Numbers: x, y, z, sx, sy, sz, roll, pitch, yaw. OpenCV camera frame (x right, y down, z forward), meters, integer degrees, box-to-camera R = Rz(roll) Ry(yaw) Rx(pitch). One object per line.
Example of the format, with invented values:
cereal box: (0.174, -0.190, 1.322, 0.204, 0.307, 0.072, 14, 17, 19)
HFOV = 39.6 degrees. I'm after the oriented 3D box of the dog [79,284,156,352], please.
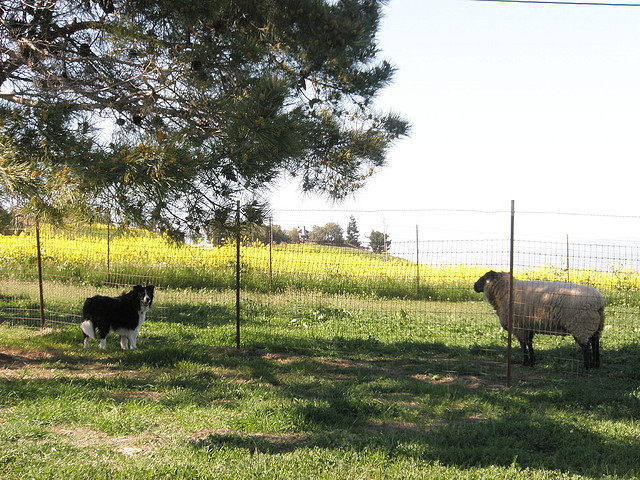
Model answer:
dog: (-3.823, 1.487, 16.977, 1.421, 1.328, 0.717, 4, -7, -39)
